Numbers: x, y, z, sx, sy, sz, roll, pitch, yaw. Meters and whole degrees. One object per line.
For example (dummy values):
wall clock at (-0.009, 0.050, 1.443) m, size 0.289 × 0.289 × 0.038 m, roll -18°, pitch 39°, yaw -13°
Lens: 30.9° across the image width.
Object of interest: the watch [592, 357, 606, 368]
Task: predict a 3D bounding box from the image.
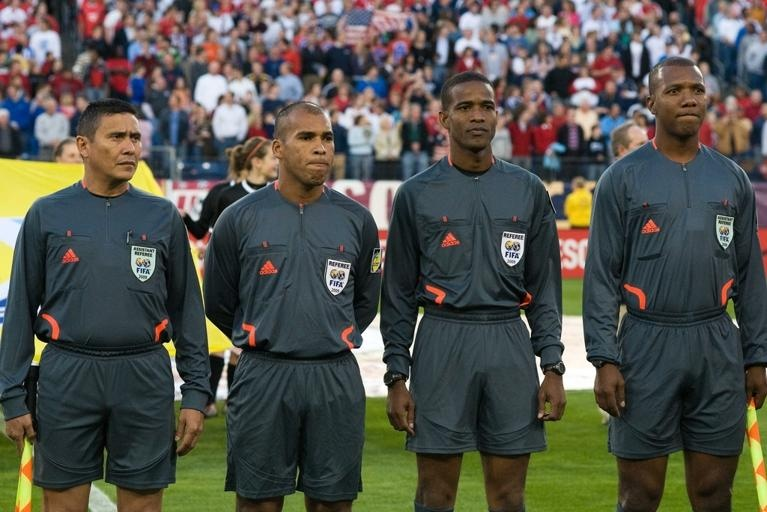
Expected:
watch at (1.651, 0.824, 10.684) m, size 0.099 × 0.049 × 0.071 m, roll 5°, pitch 1°, yaw -19°
